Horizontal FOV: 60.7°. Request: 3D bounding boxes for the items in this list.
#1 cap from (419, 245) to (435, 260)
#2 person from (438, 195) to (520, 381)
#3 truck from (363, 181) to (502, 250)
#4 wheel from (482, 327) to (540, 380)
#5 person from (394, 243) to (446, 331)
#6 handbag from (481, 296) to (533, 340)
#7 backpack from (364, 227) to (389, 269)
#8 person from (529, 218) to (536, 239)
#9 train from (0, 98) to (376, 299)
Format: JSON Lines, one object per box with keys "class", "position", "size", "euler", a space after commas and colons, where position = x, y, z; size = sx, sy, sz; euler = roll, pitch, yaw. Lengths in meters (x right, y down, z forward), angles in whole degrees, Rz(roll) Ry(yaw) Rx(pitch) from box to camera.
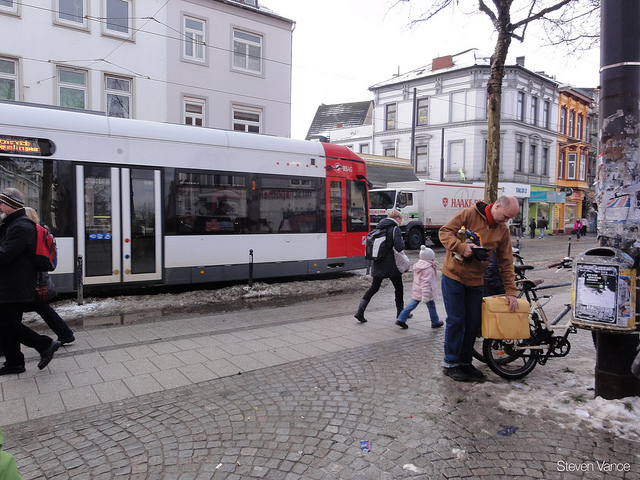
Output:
{"class": "cap", "position": [1.735, 0.203, 8.905], "size": [0.208, 0.263, 0.191], "euler": [30, -9, -39]}
{"class": "person", "position": [1.953, 0.566, 6.626], "size": [1.106, 2.272, 0.985], "euler": [4, -2, -13]}
{"class": "truck", "position": [5.406, -1.070, 24.812], "size": [7.045, 2.719, 2.069], "euler": [-2, 0, -33]}
{"class": "wheel", "position": [2.361, 1.429, 6.915], "size": [0.663, 0.682, 0.659], "euler": [1, -5, 0]}
{"class": "person", "position": [1.651, 0.786, 8.958], "size": [0.721, 1.380, 0.807], "euler": [4, 11, 21]}
{"class": "handbag", "position": [2.205, 0.927, 6.785], "size": [0.661, 0.628, 0.504], "euler": [0, -5, -4]}
{"class": "backpack", "position": [0.906, 0.109, 9.197], "size": [0.325, 0.554, 0.428], "euler": [10, -8, -42]}
{"class": "person", "position": [13.615, -0.686, 35.101], "size": [0.239, 1.245, 1.002], "euler": [5, 12, 24]}
{"class": "train", "position": [-2.758, -0.717, 13.350], "size": [11.854, 4.152, 3.574], "euler": [-1, 3, -32]}
